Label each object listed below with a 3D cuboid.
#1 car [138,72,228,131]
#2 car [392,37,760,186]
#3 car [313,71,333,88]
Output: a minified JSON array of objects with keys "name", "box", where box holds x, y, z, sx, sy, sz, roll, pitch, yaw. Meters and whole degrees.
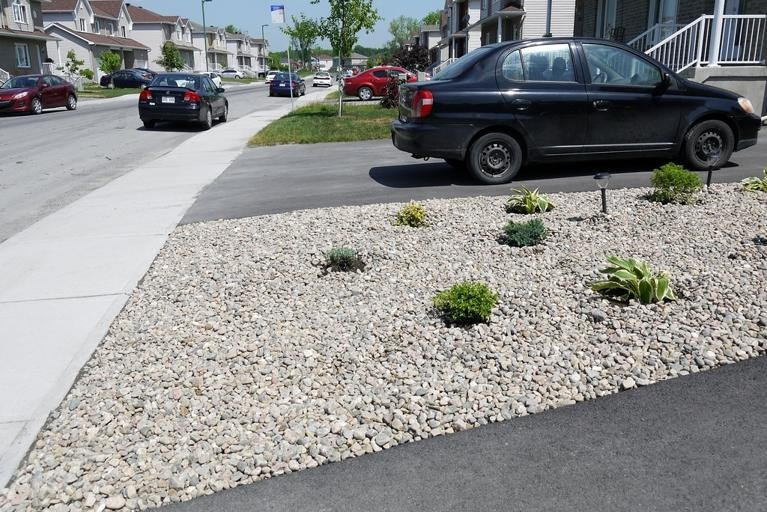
[{"name":"car","box":[-8.140,-6.344,20.016,3.234,2.059,4.061,2,22,6]},{"name":"car","box":[3.464,-2.476,9.485,5.821,2.112,2.847,-5,17,-5]},{"name":"car","box":[-7.384,-21.716,60.904,1.800,1.451,2.923,1,22,5]}]
